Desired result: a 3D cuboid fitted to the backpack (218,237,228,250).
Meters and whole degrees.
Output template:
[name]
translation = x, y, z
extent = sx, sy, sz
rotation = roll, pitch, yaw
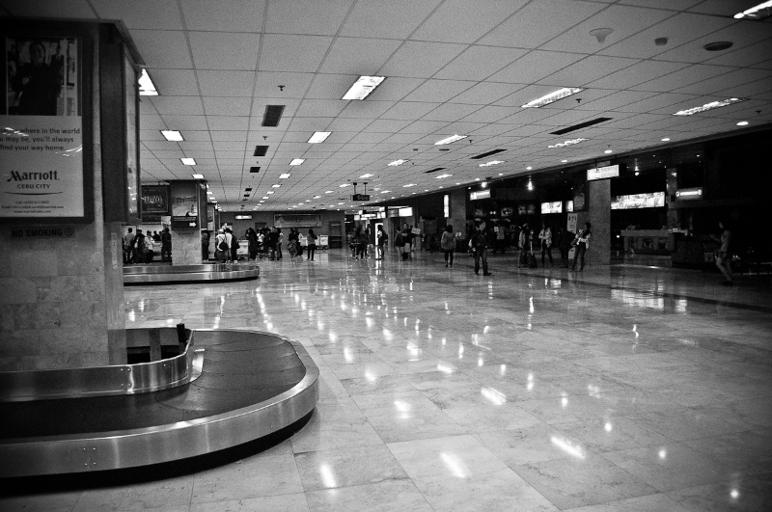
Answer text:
[backpack]
translation = -6.452, -0.547, 21.104
extent = 0.386, 0.555, 0.310
rotation = -2, 8, 5
